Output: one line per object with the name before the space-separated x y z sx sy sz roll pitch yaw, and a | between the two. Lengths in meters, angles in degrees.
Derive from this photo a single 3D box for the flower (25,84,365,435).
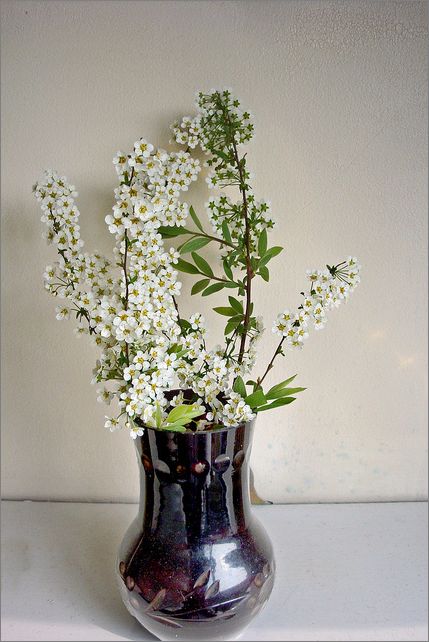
flower | -0.011 -0.060 1.092 0.529 0.608 0.512 -4 21 -14
